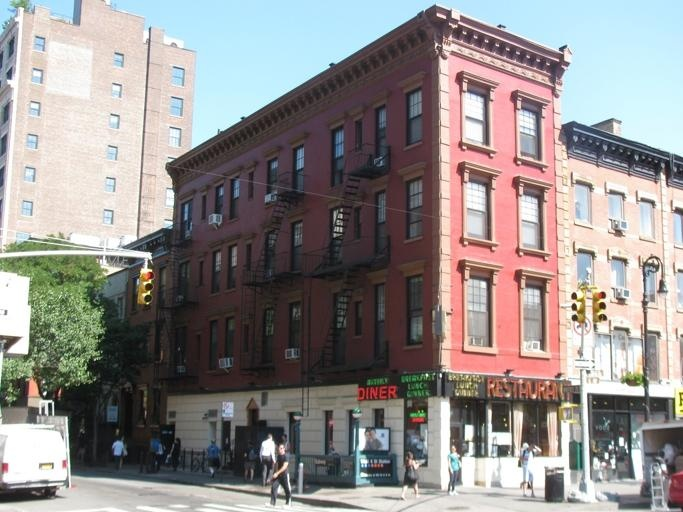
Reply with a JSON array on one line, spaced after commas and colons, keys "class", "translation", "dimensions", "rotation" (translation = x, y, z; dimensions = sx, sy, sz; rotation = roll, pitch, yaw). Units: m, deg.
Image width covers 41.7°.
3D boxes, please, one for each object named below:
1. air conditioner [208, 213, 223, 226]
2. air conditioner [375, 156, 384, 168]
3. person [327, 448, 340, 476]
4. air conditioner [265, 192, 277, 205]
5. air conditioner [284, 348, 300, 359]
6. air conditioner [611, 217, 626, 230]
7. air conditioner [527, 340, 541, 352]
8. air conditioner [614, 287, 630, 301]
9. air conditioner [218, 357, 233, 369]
[{"class": "air conditioner", "translation": [-8.408, -2.487, 59.783], "dimensions": [0.643, 0.963, 1.209], "rotation": [2, -5, -28]}, {"class": "air conditioner", "translation": [2.023, -5.089, 47.634], "dimensions": [0.248, 0.553, 0.593], "rotation": [8, -10, -26]}, {"class": "person", "translation": [-0.377, 10.391, 45.136], "dimensions": [0.519, 1.455, 0.581], "rotation": [11, -19, -32]}, {"class": "air conditioner", "translation": [-4.229, -3.354, 54.155], "dimensions": [0.595, 0.734, 1.127], "rotation": [3, -8, -23]}, {"class": "air conditioner", "translation": [-2.852, 5.540, 51.455], "dimensions": [0.637, 0.633, 1.173], "rotation": [13, -22, -37]}, {"class": "air conditioner", "translation": [15.961, -1.851, 51.855], "dimensions": [0.929, 0.876, 0.515], "rotation": [3, -2, -23]}, {"class": "air conditioner", "translation": [9.908, 4.643, 46.693], "dimensions": [0.760, 0.797, 0.528], "rotation": [13, -23, -41]}, {"class": "air conditioner", "translation": [15.832, 2.117, 51.001], "dimensions": [1.189, 1.062, 0.605], "rotation": [6, -5, -43]}, {"class": "air conditioner", "translation": [-7.367, 6.720, 57.021], "dimensions": [0.485, 0.892, 1.464], "rotation": [10, -20, -31]}]
